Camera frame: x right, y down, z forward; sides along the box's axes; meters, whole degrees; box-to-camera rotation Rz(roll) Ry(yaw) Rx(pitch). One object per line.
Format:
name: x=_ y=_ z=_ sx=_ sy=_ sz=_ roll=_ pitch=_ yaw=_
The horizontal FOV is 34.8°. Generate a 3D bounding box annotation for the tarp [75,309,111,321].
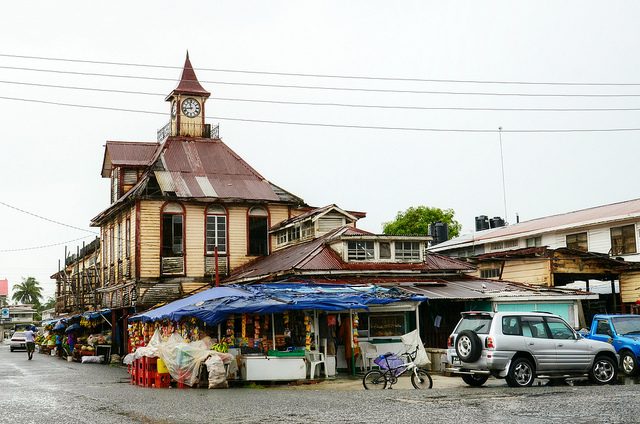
tarp: x=-13.508 y=6.162 z=60.910 sx=1.271 sy=0.374 sz=1.311 roll=-3 pitch=-3 yaw=36

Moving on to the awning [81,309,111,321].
awning: x=-13.022 y=5.884 z=59.077 sx=1.458 sy=0.410 sz=1.435 roll=-6 pitch=-11 yaw=18

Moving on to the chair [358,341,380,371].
chair: x=2.031 y=6.178 z=43.834 sx=0.881 sy=1.112 sz=0.914 roll=1 pitch=3 yaw=-39

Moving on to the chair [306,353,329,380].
chair: x=-0.290 y=6.323 z=42.292 sx=0.979 sy=1.183 sz=0.786 roll=-1 pitch=-1 yaw=-35

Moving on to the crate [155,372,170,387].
crate: x=-6.329 y=6.742 z=41.016 sx=0.556 sy=0.522 sz=0.980 roll=-2 pitch=-4 yaw=5

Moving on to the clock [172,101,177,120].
clock: x=-8.579 y=-6.013 z=60.042 sx=0.062 sy=0.869 sz=0.884 roll=1 pitch=27 yaw=-20

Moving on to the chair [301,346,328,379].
chair: x=-0.118 y=6.276 z=42.449 sx=0.960 sy=1.182 sz=0.813 roll=-3 pitch=-6 yaw=5

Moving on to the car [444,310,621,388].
car: x=8.134 y=5.253 z=39.244 sx=5.828 sy=2.257 sz=3.030 roll=-1 pitch=-2 yaw=-22

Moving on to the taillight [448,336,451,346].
taillight: x=4.982 y=4.975 z=39.248 sx=0.071 sy=0.339 sz=0.224 roll=-1 pitch=-12 yaw=-6

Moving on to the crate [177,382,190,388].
crate: x=-5.419 y=6.835 z=40.304 sx=0.523 sy=0.252 sz=0.401 roll=-3 pitch=-11 yaw=4

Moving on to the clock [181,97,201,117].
clock: x=-7.682 y=-6.256 z=60.207 sx=1.185 sy=1.273 sz=0.139 roll=-6 pitch=-2 yaw=-13
